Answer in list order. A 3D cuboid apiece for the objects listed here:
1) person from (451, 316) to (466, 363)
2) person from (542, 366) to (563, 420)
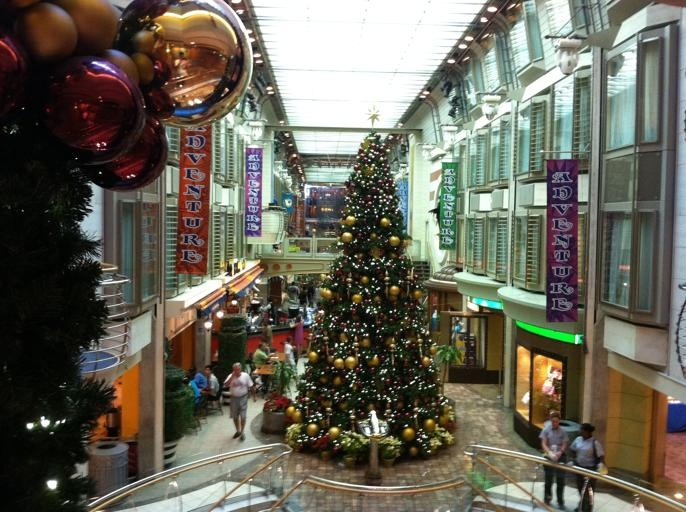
[{"bbox_3d":[3.663,2.683,17.957,0.417,1.385,1.331,-1,2,12],"label":"person"},{"bbox_3d":[4.334,2.818,11.771,0.314,0.729,0.319,17,-8,-42],"label":"person"}]
